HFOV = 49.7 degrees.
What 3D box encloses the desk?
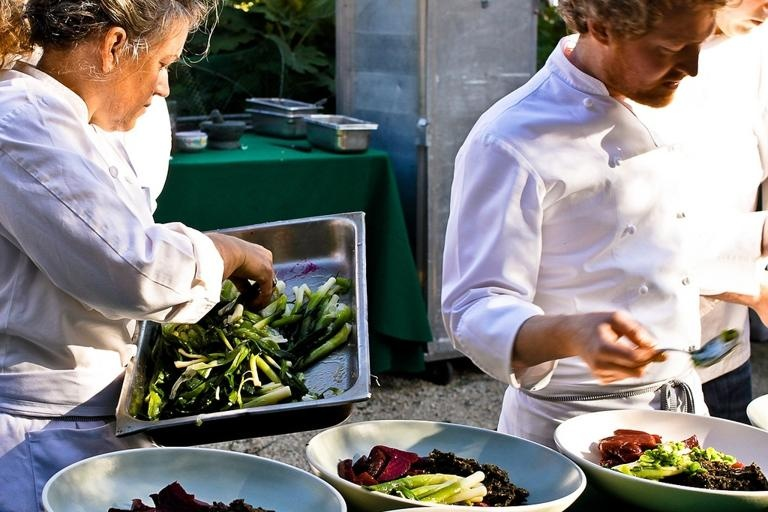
[{"bbox_3d":[-0.606,-0.065,4.561,1.208,1.037,1.341,-5,14,-17],"label":"desk"}]
